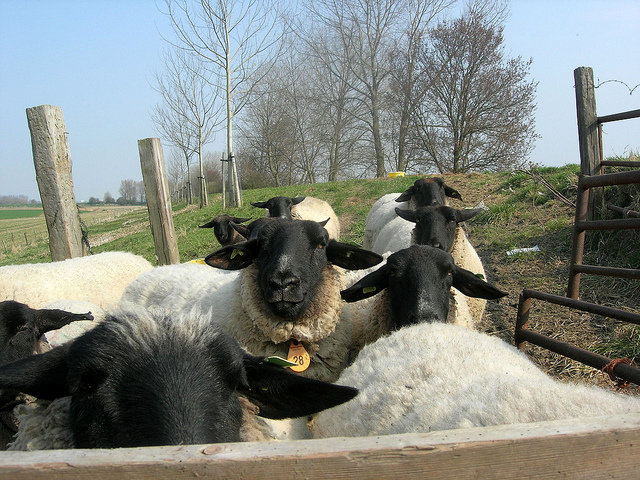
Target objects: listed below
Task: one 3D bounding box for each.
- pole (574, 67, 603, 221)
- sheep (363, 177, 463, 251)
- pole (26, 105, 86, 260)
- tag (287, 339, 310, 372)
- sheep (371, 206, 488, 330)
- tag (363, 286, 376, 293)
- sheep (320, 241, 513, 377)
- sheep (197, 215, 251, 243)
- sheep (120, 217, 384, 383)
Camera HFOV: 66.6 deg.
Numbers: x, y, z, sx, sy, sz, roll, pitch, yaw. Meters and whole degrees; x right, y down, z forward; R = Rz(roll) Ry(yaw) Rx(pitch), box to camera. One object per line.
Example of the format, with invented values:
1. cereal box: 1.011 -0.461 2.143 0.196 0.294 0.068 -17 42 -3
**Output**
1. pole: 4.116 -1.657 7.477 0.288 2.272 0.303 -7 41 25
2. sheep: 1.805 -0.153 10.483 1.374 2.100 3.715 -1 -3 -9
3. pole: -3.372 -0.705 6.312 0.424 1.988 0.553 -8 10 -29
4. tag: -0.193 1.032 4.393 0.207 0.037 0.395 -1 33 -11
5. sheep: 1.705 0.121 7.519 1.016 1.553 2.824 -1 -5 -3
6. tag: 0.477 0.469 4.677 0.099 0.062 0.024 -3 12 -4
7. sheep: 0.719 0.508 4.637 1.116 1.088 1.566 -6 -2 -17
8. sheep: -2.354 -0.305 12.012 0.692 0.478 1.043 -7 4 -3
9. sheep: -0.669 0.595 5.644 1.604 1.860 3.470 -3 8 -26
